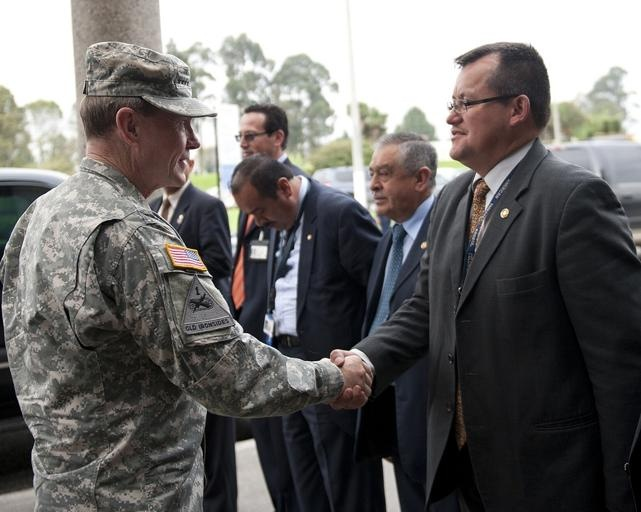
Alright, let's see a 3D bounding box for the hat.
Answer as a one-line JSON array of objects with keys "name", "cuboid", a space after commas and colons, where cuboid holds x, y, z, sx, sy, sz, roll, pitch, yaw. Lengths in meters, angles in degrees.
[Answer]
[{"name": "hat", "cuboid": [-0.630, -0.628, 2.838, 0.359, 0.186, 0.278, 7, 6, -9]}]
